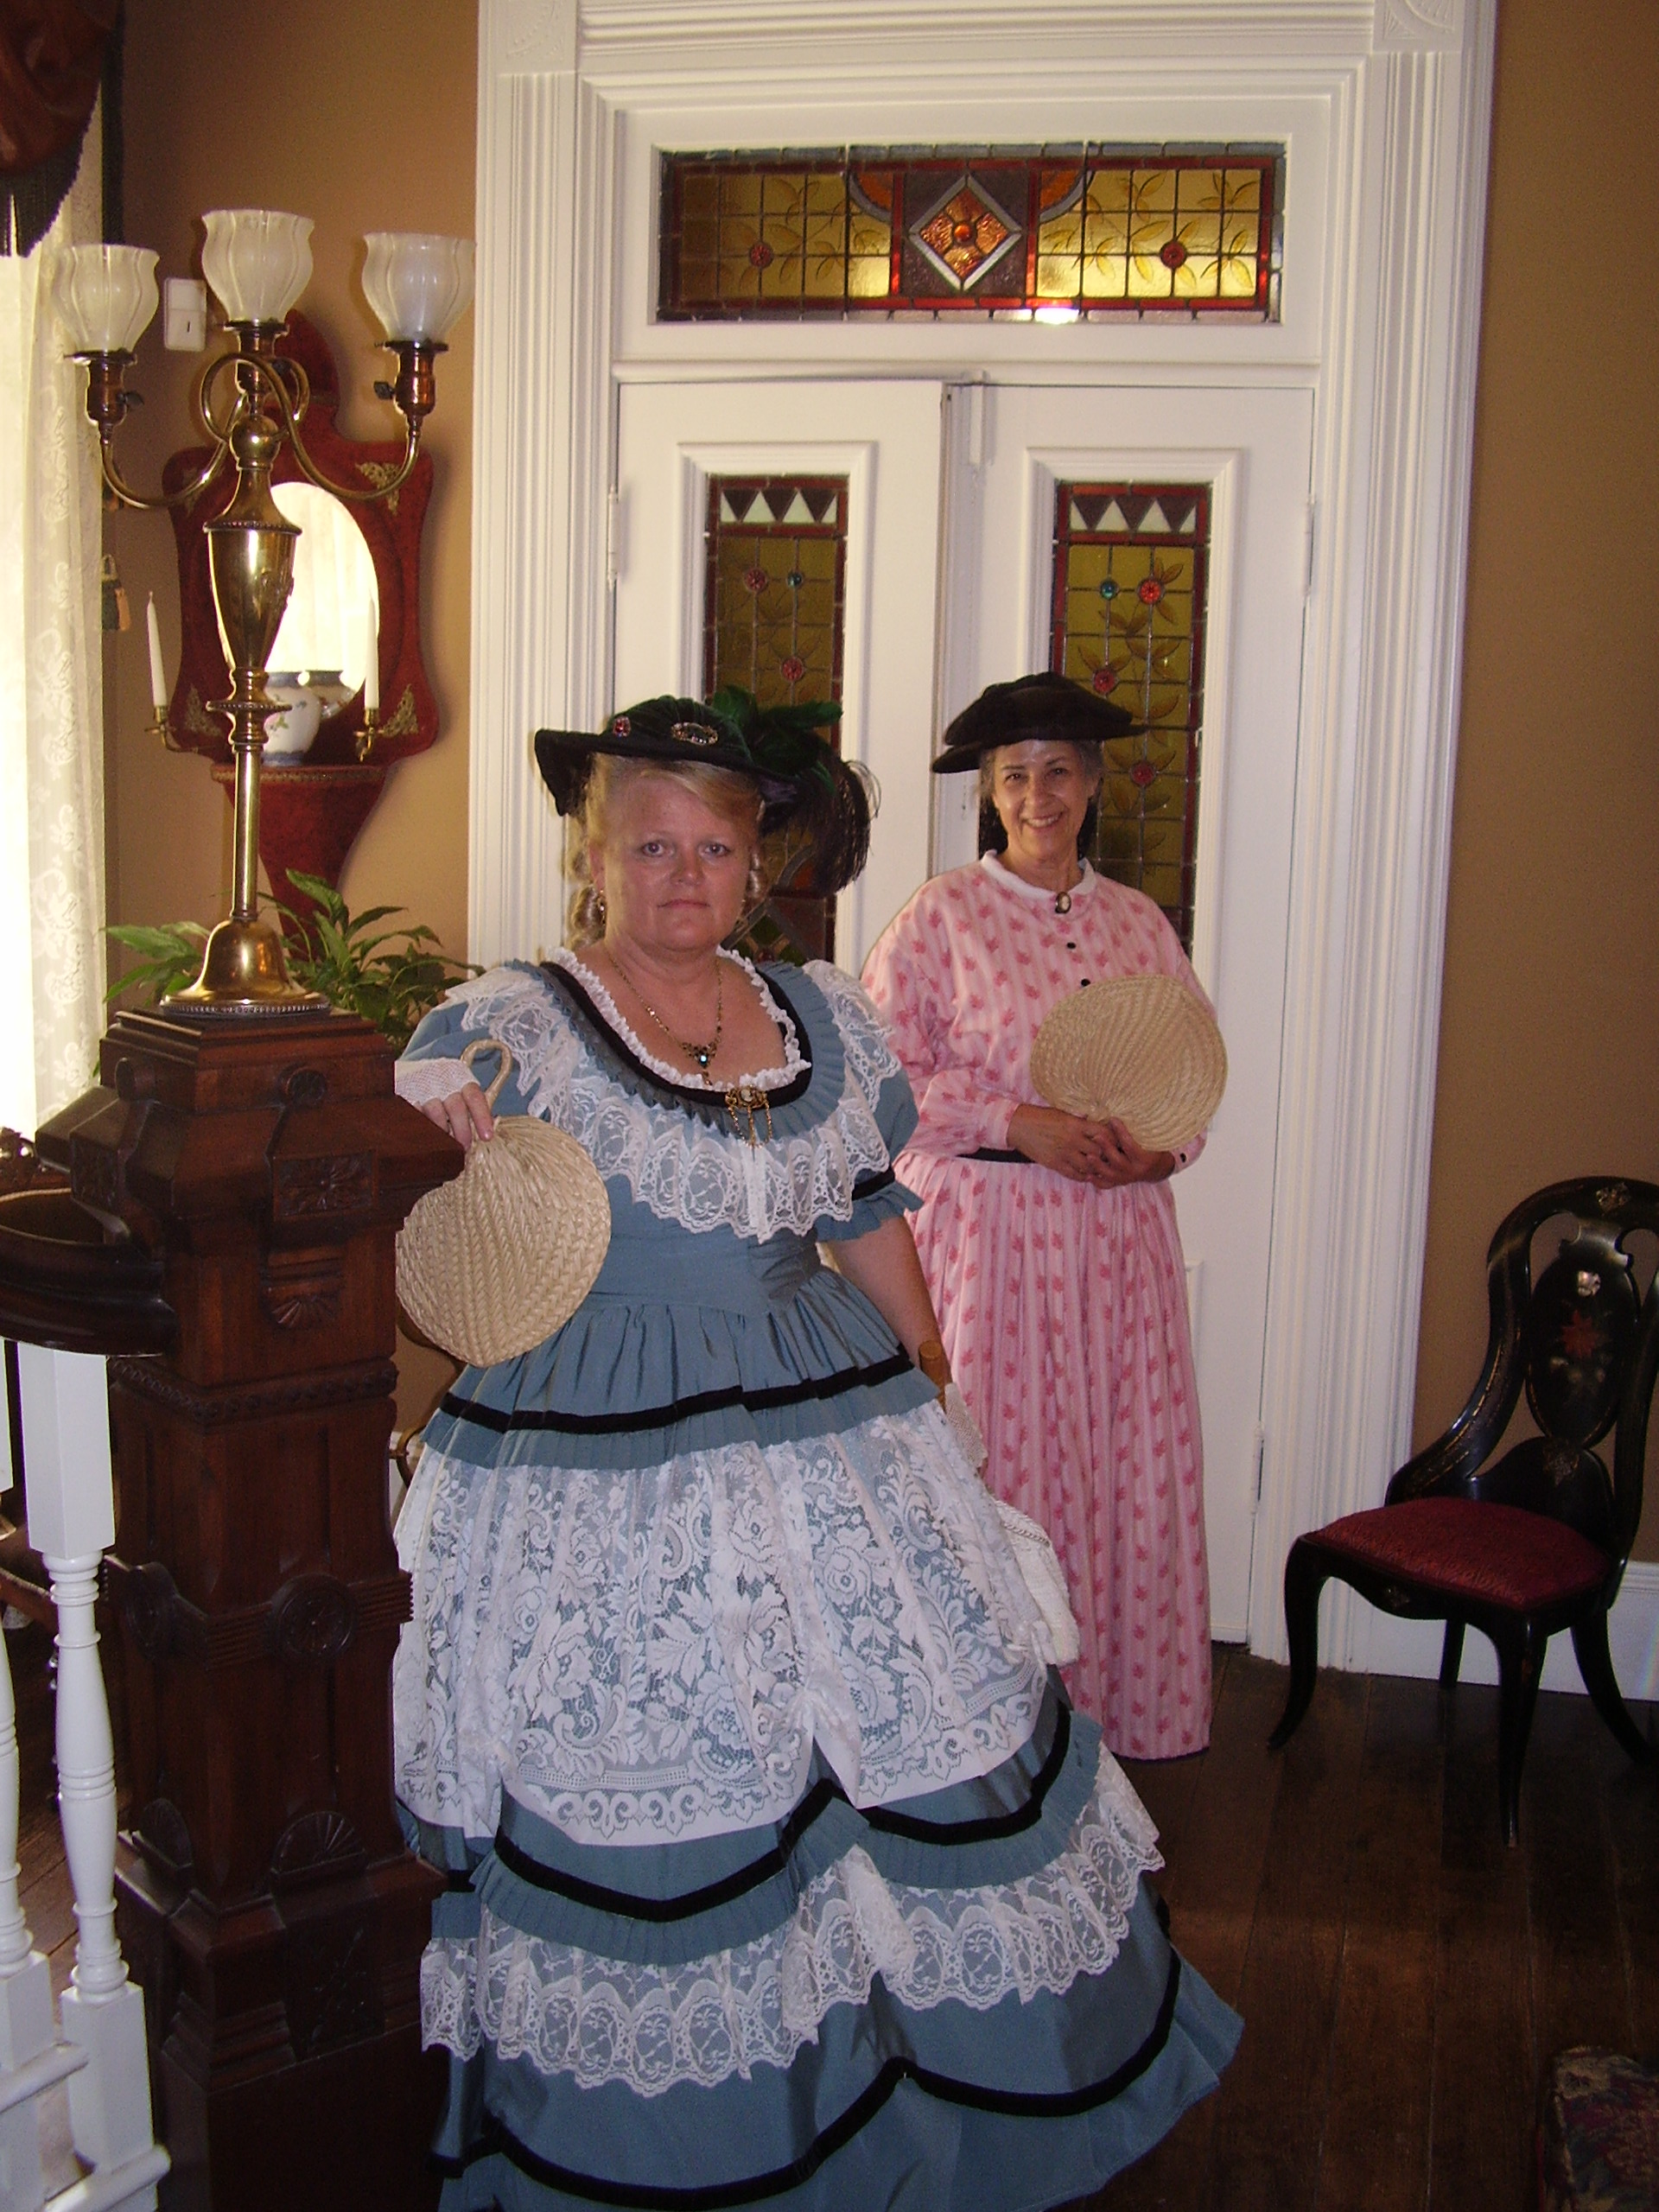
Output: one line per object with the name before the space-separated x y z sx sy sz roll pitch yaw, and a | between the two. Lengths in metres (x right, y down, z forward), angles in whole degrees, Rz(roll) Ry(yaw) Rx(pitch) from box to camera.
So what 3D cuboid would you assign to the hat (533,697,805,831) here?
hat | -0.127 -0.348 1.810 0.207 0.066 0.213 1 -2 28
